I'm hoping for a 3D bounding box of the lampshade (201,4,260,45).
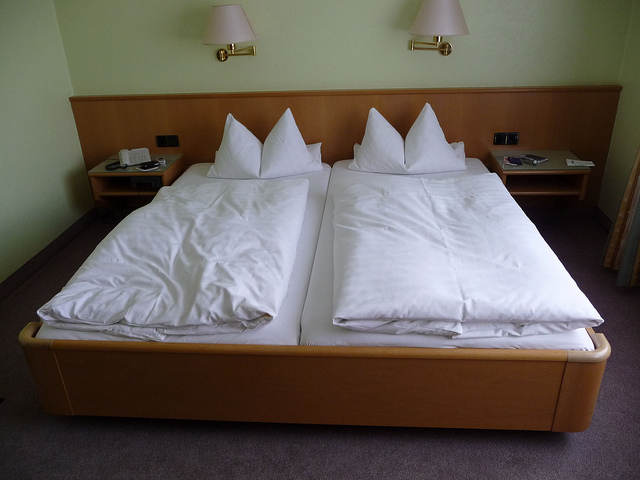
[{"bbox_3d":[-0.792,-1.825,3.955,0.454,0.365,0.367,3,25,-3],"label":"lampshade"}]

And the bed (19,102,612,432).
[{"bbox_3d":[-0.067,0.012,3.354,3.171,1.050,2.738,-3,33,0],"label":"bed"}]
